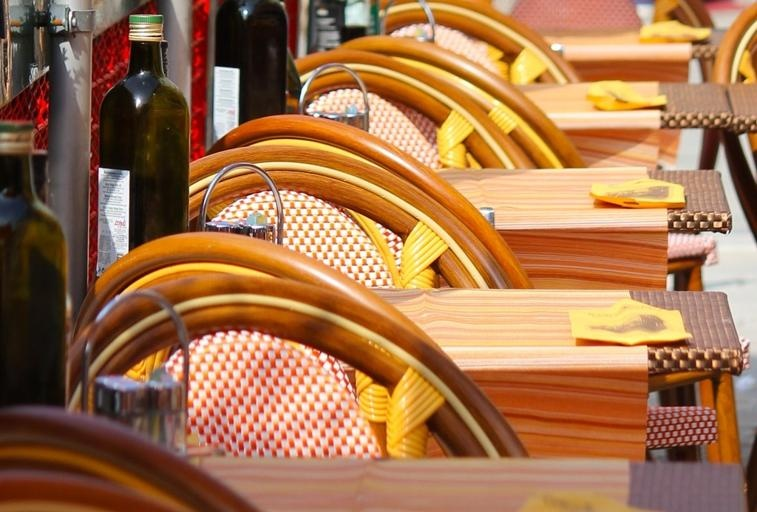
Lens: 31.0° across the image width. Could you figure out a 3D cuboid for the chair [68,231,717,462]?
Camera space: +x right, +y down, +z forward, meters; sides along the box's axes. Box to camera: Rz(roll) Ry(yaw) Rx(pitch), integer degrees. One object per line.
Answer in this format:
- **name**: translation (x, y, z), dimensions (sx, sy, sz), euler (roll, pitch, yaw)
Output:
- **chair**: translation (0.122, 0.159, 2.396), dimensions (1.078, 0.382, 0.398), euler (1, -1, -15)
